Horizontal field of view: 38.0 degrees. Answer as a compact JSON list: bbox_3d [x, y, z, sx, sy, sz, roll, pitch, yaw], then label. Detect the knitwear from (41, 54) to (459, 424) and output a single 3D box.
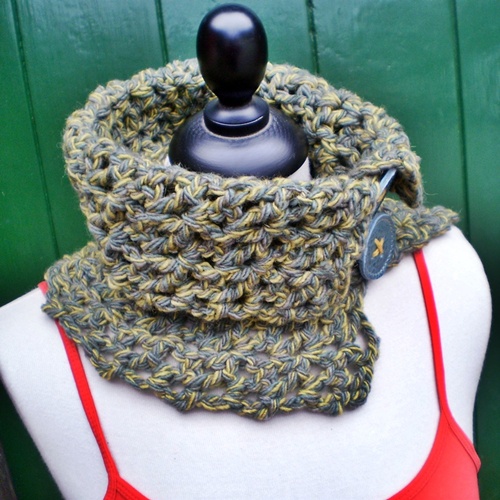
[{"bbox_3d":[-0.014,-0.007,1.171,0.619,0.478,0.404,-17,27,-25],"label":"knitwear"}]
